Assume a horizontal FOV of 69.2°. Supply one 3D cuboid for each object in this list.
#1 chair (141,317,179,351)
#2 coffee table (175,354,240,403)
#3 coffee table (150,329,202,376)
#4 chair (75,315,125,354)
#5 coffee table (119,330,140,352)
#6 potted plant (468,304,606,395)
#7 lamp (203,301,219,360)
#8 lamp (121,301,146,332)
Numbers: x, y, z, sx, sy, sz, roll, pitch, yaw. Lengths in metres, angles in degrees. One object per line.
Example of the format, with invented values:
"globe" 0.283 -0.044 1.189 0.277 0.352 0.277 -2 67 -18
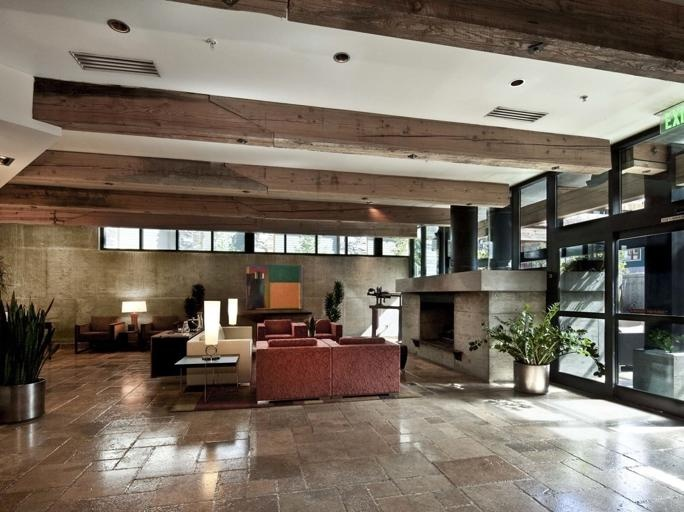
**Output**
"chair" -4.802 2.021 13.171 0.932 0.810 0.934 2 -7 -22
"coffee table" -2.063 1.883 7.849 0.855 0.425 0.769 -1 -6 0
"coffee table" -3.300 1.835 9.643 0.695 0.668 1.166 1 0 -14
"chair" -6.213 1.979 12.839 0.926 0.768 0.906 -2 -3 -5
"coffee table" -5.537 2.204 12.938 0.328 0.380 0.435 -25 -13 7
"potted plant" 3.167 1.458 8.101 1.737 0.966 1.620 1 -4 -28
"lamp" -2.106 1.196 8.046 0.243 0.935 0.642 -2 4 -15
"lamp" -5.555 1.587 13.318 0.536 0.815 0.915 -2 4 -23
